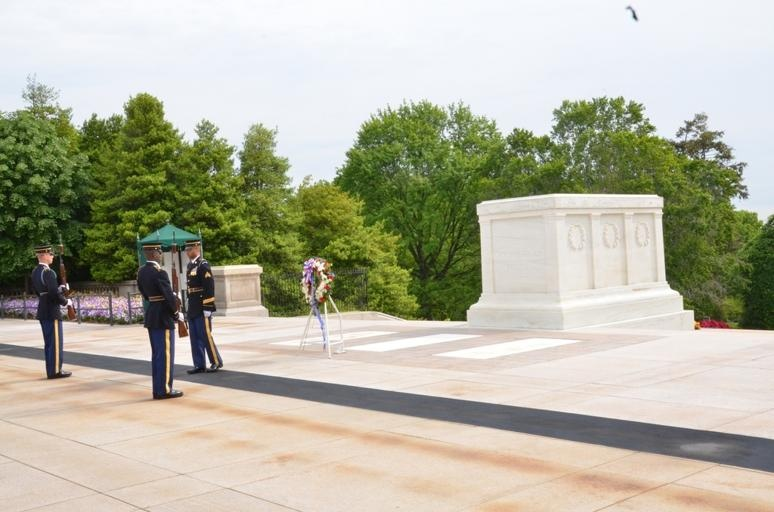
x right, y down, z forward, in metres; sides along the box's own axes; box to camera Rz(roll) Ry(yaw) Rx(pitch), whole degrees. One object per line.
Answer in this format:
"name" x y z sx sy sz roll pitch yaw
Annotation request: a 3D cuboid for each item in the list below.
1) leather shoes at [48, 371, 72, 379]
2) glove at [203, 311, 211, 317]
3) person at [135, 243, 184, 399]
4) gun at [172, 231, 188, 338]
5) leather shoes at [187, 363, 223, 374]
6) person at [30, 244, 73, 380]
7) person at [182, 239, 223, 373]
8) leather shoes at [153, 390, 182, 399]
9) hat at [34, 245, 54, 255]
"leather shoes" -6.418 2.334 14.917 0.359 0.135 0.138 -2 3 -14
"glove" -3.500 1.130 14.810 0.095 0.103 0.103 2 3 -1
"person" -3.925 1.110 13.128 0.653 2.561 1.224 -5 7 -16
"gun" -5.538 0.657 20.245 0.241 3.123 0.658 6 9 35
"leather shoes" -3.556 2.193 14.786 0.590 0.221 0.207 -11 8 -25
"person" -6.610 1.109 14.968 0.518 2.546 0.829 -8 8 -38
"person" -3.660 1.007 14.936 0.663 2.543 0.903 -4 7 -12
"leather shoes" -3.692 2.349 12.805 0.492 0.183 0.168 -3 5 -16
"hat" -6.858 -0.132 15.233 0.347 0.158 0.396 1 -1 28
